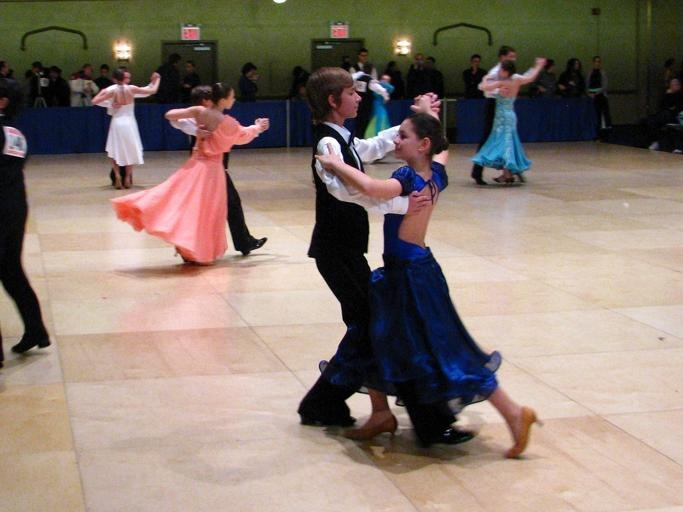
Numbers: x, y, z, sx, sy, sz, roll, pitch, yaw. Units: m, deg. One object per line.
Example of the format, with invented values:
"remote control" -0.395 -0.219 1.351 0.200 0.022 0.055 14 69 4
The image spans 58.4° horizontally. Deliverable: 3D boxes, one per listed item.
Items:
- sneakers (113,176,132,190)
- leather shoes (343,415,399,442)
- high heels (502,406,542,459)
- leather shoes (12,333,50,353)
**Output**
"sneakers" -3.979 -1.314 11.059 0.181 0.182 0.542 -2 -2 -28
"leather shoes" 0.142 0.832 2.965 0.264 0.085 0.122 -5 1 11
"high heels" 0.795 0.774 2.750 0.133 0.261 0.103 16 16 -17
"leather shoes" -2.098 0.588 4.102 0.237 0.133 0.120 -5 14 -18
